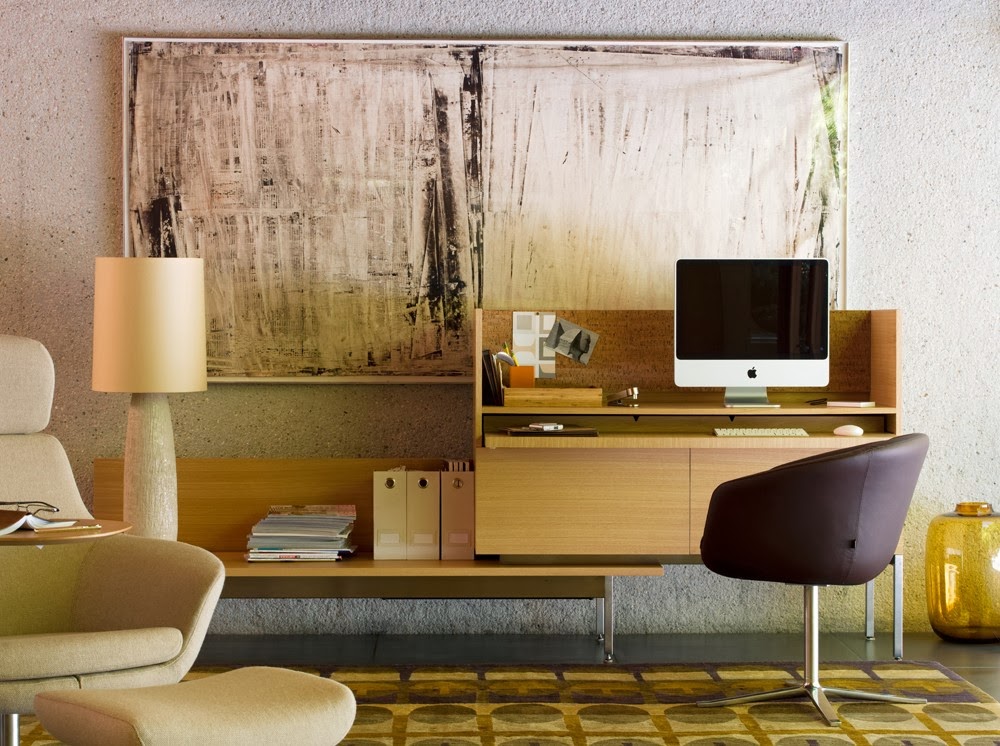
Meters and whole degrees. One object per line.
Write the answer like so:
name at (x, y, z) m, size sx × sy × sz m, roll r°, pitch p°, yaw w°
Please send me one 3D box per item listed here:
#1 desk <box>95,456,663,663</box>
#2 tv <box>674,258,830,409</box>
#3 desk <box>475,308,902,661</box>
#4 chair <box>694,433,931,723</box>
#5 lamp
desk at (-0.462, 0.853, 4.406) m, size 2.483 × 0.696 × 0.725 m, roll -1°, pitch -29°, yaw 14°
tv at (1.033, -0.193, 4.184) m, size 0.737 × 0.578 × 0.222 m, roll 0°, pitch -3°, yaw -1°
desk at (0.725, 0.380, 4.088) m, size 1.704 × 1.151 × 0.519 m, roll 0°, pitch -3°, yaw 1°
chair at (1.207, 0.732, 4.114) m, size 1.008 × 1.200 × 1.124 m, roll -2°, pitch -5°, yaw 33°
lamp at (-1.366, 0.098, 3.996) m, size 0.425 × 1.114 × 0.282 m, roll -2°, pitch 7°, yaw -15°
